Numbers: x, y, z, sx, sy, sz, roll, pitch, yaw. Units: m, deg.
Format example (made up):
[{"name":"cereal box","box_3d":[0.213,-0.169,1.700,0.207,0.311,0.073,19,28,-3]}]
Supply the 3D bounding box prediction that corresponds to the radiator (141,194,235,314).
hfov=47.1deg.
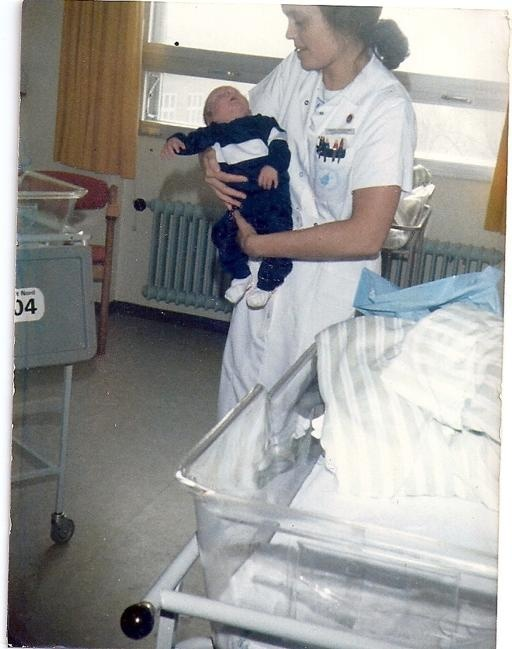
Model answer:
[{"name":"radiator","box_3d":[-0.108,-0.122,0.940,0.170,0.163,0.027,6,9,-1]}]
